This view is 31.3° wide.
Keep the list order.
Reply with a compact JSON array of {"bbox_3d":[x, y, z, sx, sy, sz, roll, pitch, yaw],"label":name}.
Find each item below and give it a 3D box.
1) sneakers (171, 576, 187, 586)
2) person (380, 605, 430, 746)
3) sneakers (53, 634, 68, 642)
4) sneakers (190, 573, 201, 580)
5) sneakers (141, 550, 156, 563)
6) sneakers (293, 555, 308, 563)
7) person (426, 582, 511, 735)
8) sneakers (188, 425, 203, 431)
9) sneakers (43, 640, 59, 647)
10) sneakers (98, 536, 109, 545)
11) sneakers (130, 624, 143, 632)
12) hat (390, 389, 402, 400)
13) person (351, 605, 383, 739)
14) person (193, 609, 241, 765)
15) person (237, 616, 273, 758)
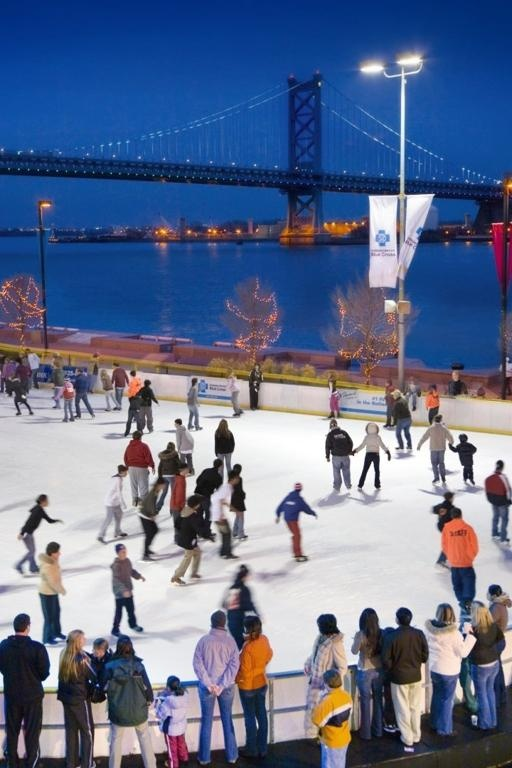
[{"bbox_3d":[-0.872,2.190,10.230,0.173,0.087,0.080,13,10,14],"label":"sneakers"},{"bbox_3d":[1.047,2.107,6.654,0.305,1.073,0.479,1,6,12],"label":"person"},{"bbox_3d":[-1.815,2.374,8.594,0.060,0.093,0.212,-6,-14,-7],"label":"sneakers"},{"bbox_3d":[-0.696,2.178,10.434,0.133,0.108,0.049,0,5,5],"label":"sneakers"},{"bbox_3d":[-1.293,2.064,11.037,0.210,0.171,0.076,1,7,0],"label":"sneakers"},{"bbox_3d":[0.499,2.088,11.103,0.163,0.073,0.208,0,7,0],"label":"sneakers"},{"bbox_3d":[1.561,2.099,6.915,0.902,1.063,0.397,-6,8,-44],"label":"person"},{"bbox_3d":[-1.339,0.952,19.729,0.350,0.169,0.109,-3,13,-42],"label":"sneakers"},{"bbox_3d":[-1.879,2.377,8.465,0.113,0.092,0.045,-4,4,7],"label":"sneakers"},{"bbox_3d":[-1.960,1.994,11.755,0.144,0.113,0.055,12,15,29],"label":"sneakers"},{"bbox_3d":[-1.161,2.354,8.921,0.108,0.070,0.113,-1,7,-7],"label":"sneakers"},{"bbox_3d":[2.685,0.213,18.336,0.221,0.263,0.176,8,-4,21],"label":"hat"},{"bbox_3d":[0.771,2.092,6.718,0.254,0.988,0.270,-5,9,-31],"label":"person"},{"bbox_3d":[-0.285,2.146,6.358,0.296,1.035,0.304,0,5,-3],"label":"person"},{"bbox_3d":[-0.035,2.131,6.439,0.224,1.044,0.220,0,5,0],"label":"person"}]
